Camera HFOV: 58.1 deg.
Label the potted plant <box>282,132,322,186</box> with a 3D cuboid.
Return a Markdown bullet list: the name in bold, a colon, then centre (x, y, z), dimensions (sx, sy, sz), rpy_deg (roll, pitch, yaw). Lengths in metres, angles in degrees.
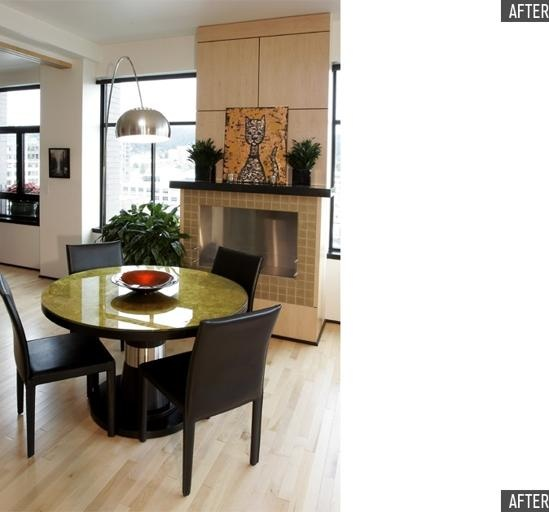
- **potted plant**: centre (0.200, -0.691, 3.559), dimensions (0.317, 0.395, 0.313), rpy_deg (1, 5, 4)

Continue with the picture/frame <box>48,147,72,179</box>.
- **picture/frame**: centre (-2.115, -0.927, 4.913), dimensions (0.264, 0.332, 0.016), rpy_deg (11, 17, 22)

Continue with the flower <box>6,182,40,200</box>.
- **flower**: centre (-2.879, -0.725, 5.663), dimensions (0.347, 0.288, 0.110), rpy_deg (-2, 1, 14)

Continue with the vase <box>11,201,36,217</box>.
- **vase**: centre (-2.832, -0.532, 5.607), dimensions (0.373, 0.173, 0.076), rpy_deg (7, 10, 26)

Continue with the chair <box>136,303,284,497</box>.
- **chair**: centre (-0.266, 0.502, 1.962), dimensions (0.367, 0.703, 0.531), rpy_deg (-4, 11, -36)
